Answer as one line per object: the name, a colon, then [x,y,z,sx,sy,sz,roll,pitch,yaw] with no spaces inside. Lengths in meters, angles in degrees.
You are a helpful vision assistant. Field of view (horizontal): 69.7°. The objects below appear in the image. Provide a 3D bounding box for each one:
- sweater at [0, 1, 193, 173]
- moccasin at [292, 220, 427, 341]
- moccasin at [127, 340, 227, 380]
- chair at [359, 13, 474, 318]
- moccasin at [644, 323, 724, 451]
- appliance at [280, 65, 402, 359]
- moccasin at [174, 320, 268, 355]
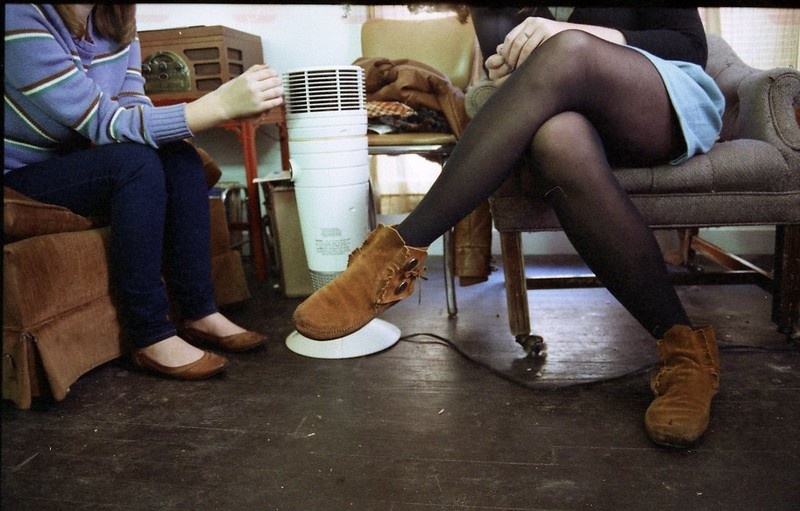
sweater: [-0.752,-0.521,1.742,0.620,0.394,0.362,5,36,-4]
moccasin: [-0.106,0.059,1.564,0.193,0.182,0.482,33,36,23]
moccasin: [-0.677,0.327,1.776,0.281,0.095,0.105,3,8,8]
chair: [0.047,-0.407,2.346,0.539,1.043,0.652,5,21,8]
moccasin: [0.721,0.310,1.428,0.140,0.153,0.377,-8,15,32]
appliance: [-0.208,-0.156,1.937,0.467,0.901,0.435,-1,6,11]
moccasin: [-0.569,0.268,1.897,0.307,0.112,0.111,1,2,8]
